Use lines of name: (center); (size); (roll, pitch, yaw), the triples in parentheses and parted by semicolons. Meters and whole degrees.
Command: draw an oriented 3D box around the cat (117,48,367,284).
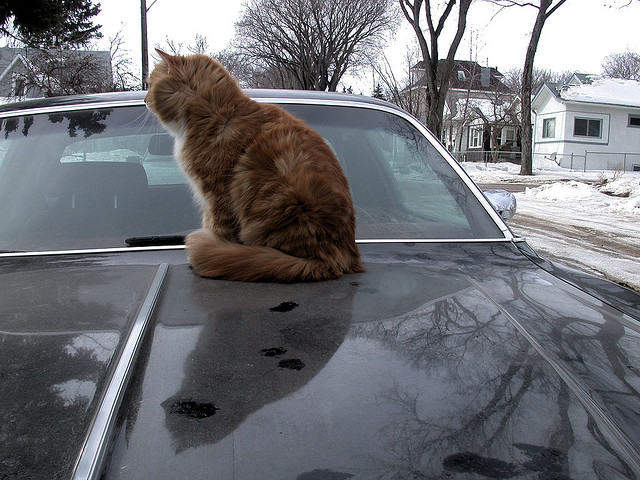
cat: (-0.277, -0.286, 1.515); (0.946, 0.773, 0.628); (9, 21, 4)
